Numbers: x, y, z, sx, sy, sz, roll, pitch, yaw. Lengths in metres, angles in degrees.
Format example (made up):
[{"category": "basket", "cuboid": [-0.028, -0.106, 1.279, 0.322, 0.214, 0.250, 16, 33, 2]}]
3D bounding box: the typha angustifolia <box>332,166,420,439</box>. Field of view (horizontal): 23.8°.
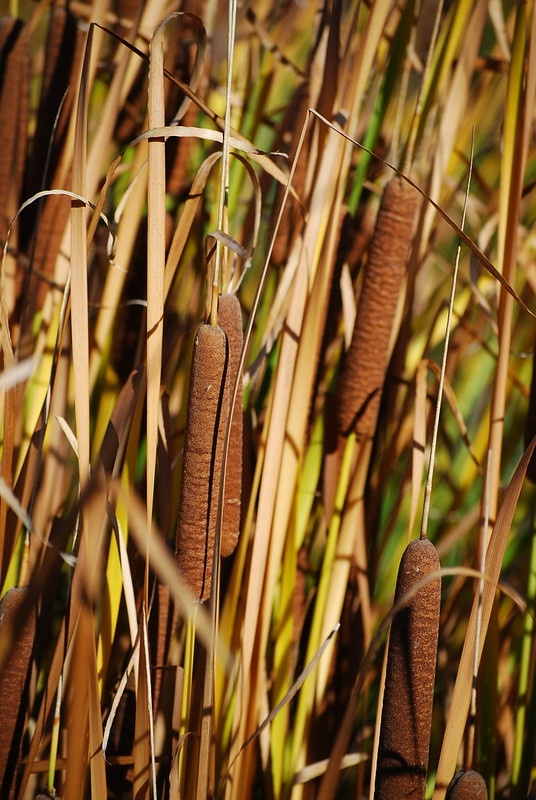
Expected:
[{"category": "typha angustifolia", "cuboid": [0.177, -0.155, 2.063, 0.115, 0.368, 0.200, 3, -25, 4]}]
